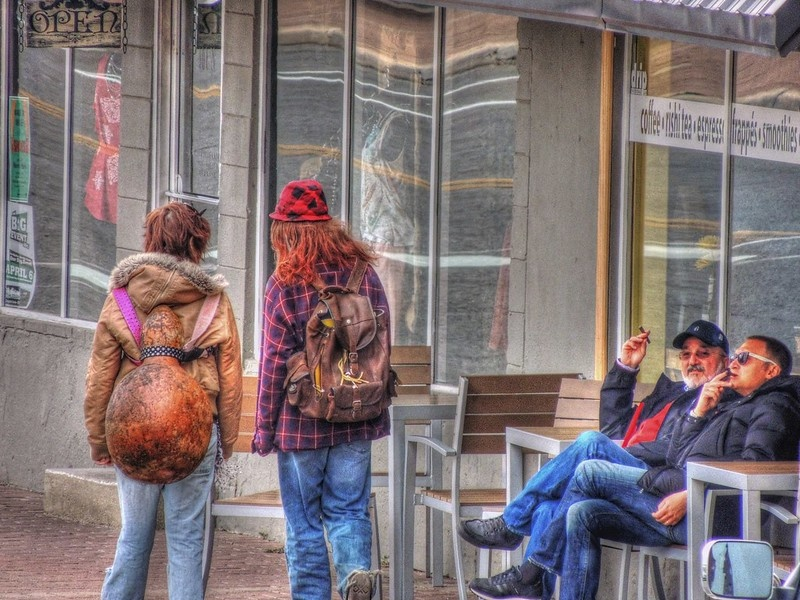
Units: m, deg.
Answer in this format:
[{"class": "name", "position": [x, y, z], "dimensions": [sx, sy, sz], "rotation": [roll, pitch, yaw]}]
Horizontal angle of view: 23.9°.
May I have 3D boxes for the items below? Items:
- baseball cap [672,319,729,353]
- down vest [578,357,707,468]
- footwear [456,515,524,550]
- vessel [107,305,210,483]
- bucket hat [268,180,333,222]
[{"class": "baseball cap", "position": [1.936, 0.241, 12.195], "dimensions": [0.288, 0.144, 0.211], "rotation": [34, -16, -29]}, {"class": "down vest", "position": [1.578, 0.692, 12.276], "dimensions": [0.732, 0.682, 0.357], "rotation": [29, 0, 23]}, {"class": "footwear", "position": [0.564, 1.477, 12.037], "dimensions": [0.475, 0.169, 0.199], "rotation": [8, -36, -6]}, {"class": "vessel", "position": [-1.477, 0.542, 11.659], "dimensions": [0.685, 1.069, 0.656], "rotation": [2, -12, -6]}, {"class": "bucket hat", "position": [-0.611, -0.648, 11.911], "dimensions": [0.444, 0.243, 0.491], "rotation": [0, 14, 4]}]
